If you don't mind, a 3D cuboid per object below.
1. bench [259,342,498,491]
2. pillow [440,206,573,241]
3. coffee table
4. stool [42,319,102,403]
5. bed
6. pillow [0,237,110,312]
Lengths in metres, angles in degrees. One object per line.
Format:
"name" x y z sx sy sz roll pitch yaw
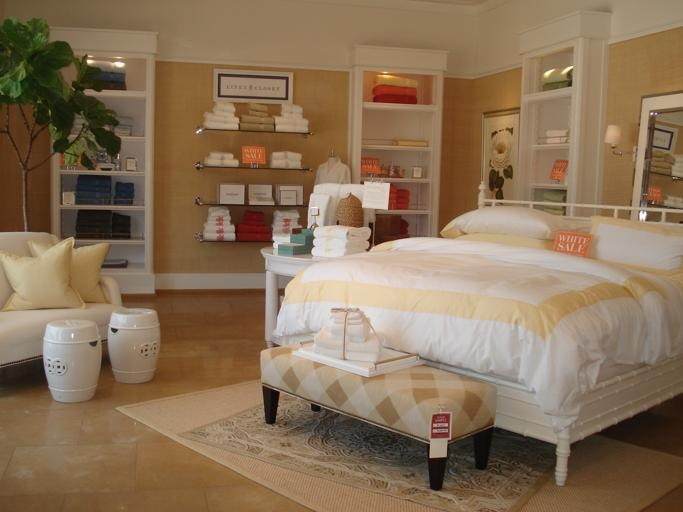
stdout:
"bench" 0.163 0.823 2.822 1.206 0.481 0.411 7 10 35
"pillow" 1.407 -0.285 4.376 0.487 0.157 0.600 -11 10 -42
"coffee table" -0.304 0.260 4.744 0.790 0.902 0.951 1 3 -20
"stool" -1.723 0.678 3.311 0.307 0.508 0.165 3 9 10
"bed" 1.443 0.357 3.750 2.250 1.480 2.268 -1 1 -42
"pillow" -2.070 0.166 3.943 0.926 0.612 0.470 0 -26 -13
